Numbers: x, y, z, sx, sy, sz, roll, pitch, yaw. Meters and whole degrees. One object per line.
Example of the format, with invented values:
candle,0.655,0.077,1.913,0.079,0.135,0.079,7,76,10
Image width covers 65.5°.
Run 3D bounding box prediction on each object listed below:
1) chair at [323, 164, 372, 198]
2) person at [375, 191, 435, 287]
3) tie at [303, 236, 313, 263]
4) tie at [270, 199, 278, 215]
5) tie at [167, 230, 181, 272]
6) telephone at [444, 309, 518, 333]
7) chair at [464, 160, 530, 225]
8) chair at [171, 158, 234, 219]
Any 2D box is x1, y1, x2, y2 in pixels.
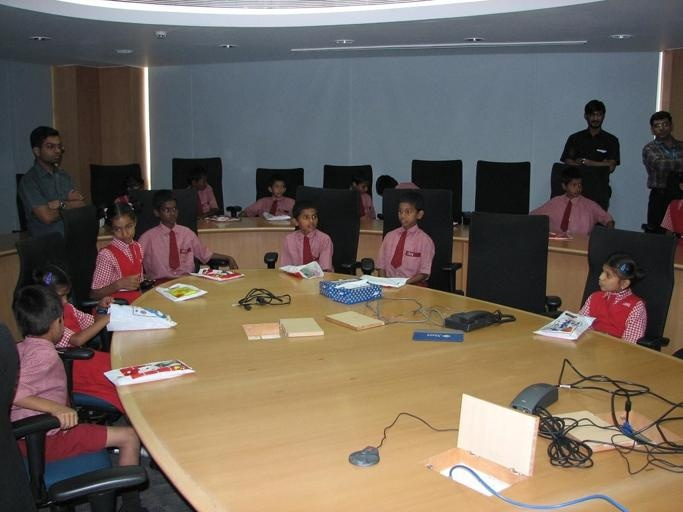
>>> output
chair,0.036,-1.028,6.994,0.533,0.712,0.581,1,7,7
person,0.545,-0.175,4.585,0.494,0.738,0.271,6,15,22
tie,-0.291,-0.051,4.662,0.082,0.221,0.115,0,14,-2
tie,-0.861,-0.616,6.810,0.118,0.198,0.048,5,-15,13
tie,-1.479,-0.049,4.684,0.086,0.329,0.146,-4,14,-17
telephone,0.743,0.343,2.894,0.274,0.066,0.160,-9,13,-29
chair,1.829,-0.797,6.548,0.854,1.014,0.851,1,5,8
chair,-1.922,-0.925,7.148,0.689,1.150,0.711,-2,8,-20
